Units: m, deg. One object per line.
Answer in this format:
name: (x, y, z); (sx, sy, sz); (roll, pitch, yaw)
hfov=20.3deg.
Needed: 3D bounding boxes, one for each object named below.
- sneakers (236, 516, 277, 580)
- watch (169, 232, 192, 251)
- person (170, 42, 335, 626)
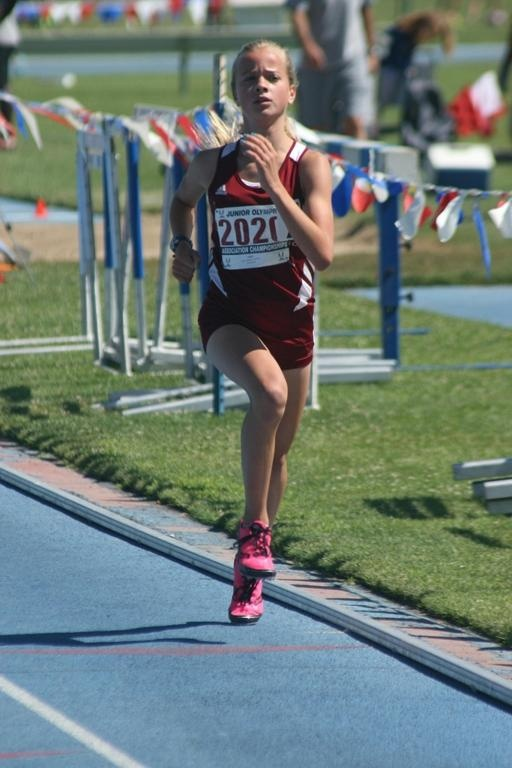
sneakers: (-0.007, 0.442, 3.808); (0.068, 0.088, 0.192); (3, 13, -10)
watch: (-0.218, -0.396, 4.073); (0.042, 0.057, 0.034); (-10, 51, 10)
person: (-0.002, -0.150, 3.917); (0.405, 1.535, 0.555); (-3, 12, -20)
